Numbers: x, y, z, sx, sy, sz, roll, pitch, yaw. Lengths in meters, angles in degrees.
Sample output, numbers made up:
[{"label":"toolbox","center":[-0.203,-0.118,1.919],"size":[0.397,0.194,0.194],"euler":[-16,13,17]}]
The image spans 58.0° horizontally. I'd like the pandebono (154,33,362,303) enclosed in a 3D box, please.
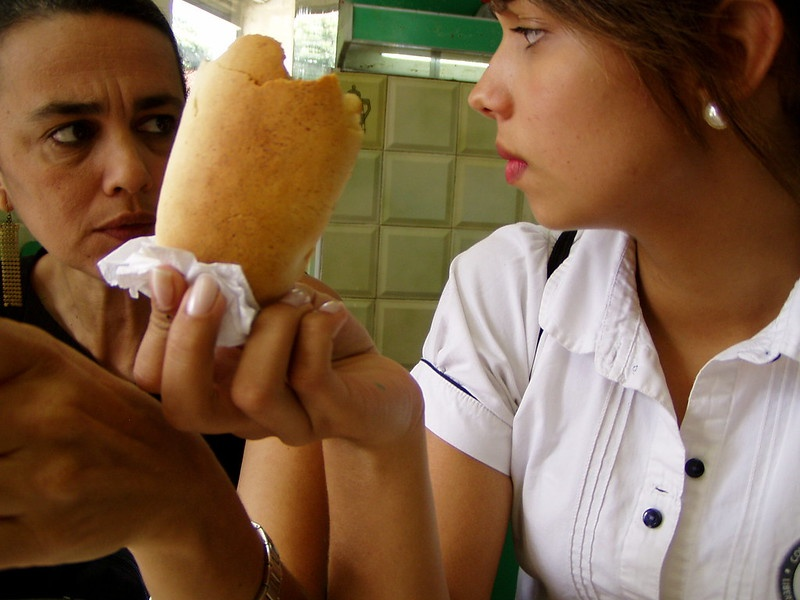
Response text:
[{"label":"pandebono","center":[-0.177,-0.116,0.864],"size":[0.200,0.169,0.303],"euler":[20,67,-23]}]
